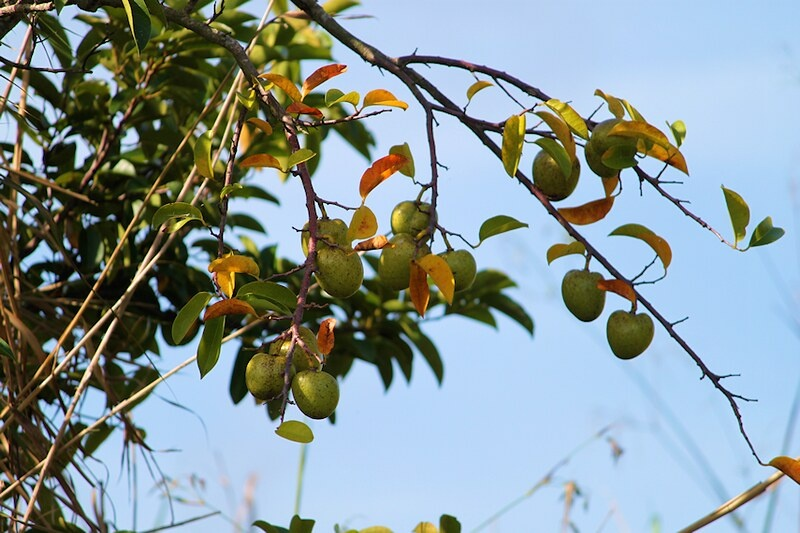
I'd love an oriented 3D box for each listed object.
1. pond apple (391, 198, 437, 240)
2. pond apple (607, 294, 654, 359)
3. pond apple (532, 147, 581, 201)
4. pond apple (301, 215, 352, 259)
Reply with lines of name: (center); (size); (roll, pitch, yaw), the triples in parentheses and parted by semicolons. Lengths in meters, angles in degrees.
pond apple: (0.026, -0.071, 1.996); (0.054, 0.059, 0.071); (27, -59, 8)
pond apple: (0.398, 0.108, 2.181); (0.086, 0.093, 0.106); (4, -74, -4)
pond apple: (0.277, -0.171, 2.216); (0.087, 0.092, 0.125); (-2, -86, -20)
pond apple: (-0.113, -0.043, 1.996); (0.052, 0.070, 0.053); (-30, -17, 34)
